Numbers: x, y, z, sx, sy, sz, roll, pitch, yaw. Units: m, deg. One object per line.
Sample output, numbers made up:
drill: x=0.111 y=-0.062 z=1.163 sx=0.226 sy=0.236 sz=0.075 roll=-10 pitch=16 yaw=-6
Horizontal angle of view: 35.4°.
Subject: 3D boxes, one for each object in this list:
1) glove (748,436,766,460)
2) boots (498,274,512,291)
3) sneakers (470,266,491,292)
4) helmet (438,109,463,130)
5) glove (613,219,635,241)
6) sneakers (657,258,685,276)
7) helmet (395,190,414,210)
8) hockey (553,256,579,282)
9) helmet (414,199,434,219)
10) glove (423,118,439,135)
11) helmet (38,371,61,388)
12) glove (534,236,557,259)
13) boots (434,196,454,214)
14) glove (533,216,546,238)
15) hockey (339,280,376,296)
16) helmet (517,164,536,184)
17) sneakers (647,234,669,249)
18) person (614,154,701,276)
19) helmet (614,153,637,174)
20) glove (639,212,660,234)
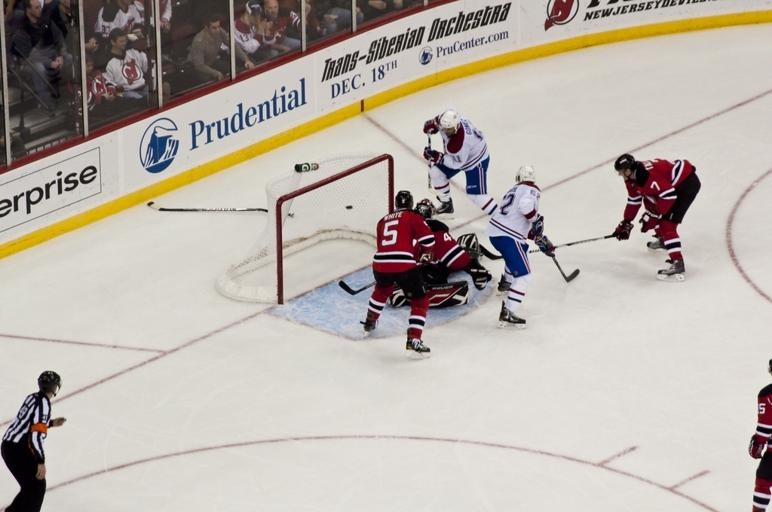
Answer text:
glove: x=3.126 y=1.621 z=10.261 sx=0.146 sy=0.173 sz=0.189 roll=0 pitch=4 yaw=5
boots: x=1.239 y=0.289 z=12.646 sx=0.127 sy=0.160 sz=0.187 roll=0 pitch=41 yaw=7
sneakers: x=0.982 y=0.229 z=12.699 sx=0.127 sy=0.309 sz=0.140 roll=-10 pitch=12 yaw=8
helmet: x=0.674 y=-1.474 z=13.263 sx=0.205 sy=0.235 sz=0.225 roll=8 pitch=64 yaw=19
glove: x=2.526 y=-0.274 z=12.910 sx=0.087 sy=0.203 sz=0.206 roll=28 pitch=23 yaw=-6
sneakers: x=2.995 y=0.122 z=12.702 sx=0.245 sy=0.190 sz=0.164 roll=11 pitch=29 yaw=30
helmet: x=0.163 y=-0.559 z=11.983 sx=0.170 sy=0.184 sz=0.197 roll=0 pitch=3 yaw=1
hockey: x=1.919 y=0.117 z=12.829 sx=0.074 sy=0.276 sz=0.270 roll=-36 pitch=58 yaw=5
helmet: x=0.340 y=-0.451 z=12.279 sx=0.207 sy=0.189 sz=0.217 roll=15 pitch=31 yaw=12
glove: x=0.508 y=-1.485 z=13.736 sx=0.219 sy=0.084 sz=0.164 roll=-17 pitch=-20 yaw=38
helmet: x=-2.881 y=1.056 z=10.307 sx=0.192 sy=0.141 sz=0.144 roll=-17 pitch=20 yaw=-41
glove: x=1.671 y=-0.082 z=12.752 sx=0.100 sy=0.108 sz=0.263 roll=43 pitch=4 yaw=32
boots: x=0.671 y=-0.598 z=13.925 sx=0.323 sy=0.237 sz=0.100 roll=3 pitch=39 yaw=3
glove: x=1.555 y=-0.287 z=12.228 sx=0.089 sy=0.200 sz=0.151 roll=11 pitch=-10 yaw=-5
hockey: x=-0.346 y=0.341 z=12.664 sx=0.226 sy=0.055 sz=0.220 roll=-19 pitch=25 yaw=-35
helmet: x=1.451 y=-0.822 z=12.385 sx=0.198 sy=0.211 sz=0.216 roll=4 pitch=29 yaw=-3
sneakers: x=2.998 y=-0.155 z=13.265 sx=0.098 sy=0.187 sz=0.207 roll=-8 pitch=22 yaw=-26
person: x=2.845 y=-0.489 z=12.753 sx=0.848 sy=1.305 sz=0.695 roll=2 pitch=27 yaw=15
helmet: x=2.449 y=-0.956 z=12.498 sx=0.270 sy=0.209 sz=0.191 roll=5 pitch=9 yaw=6
glove: x=2.824 y=-0.354 z=12.863 sx=0.169 sy=0.197 sz=0.226 roll=6 pitch=5 yaw=32
